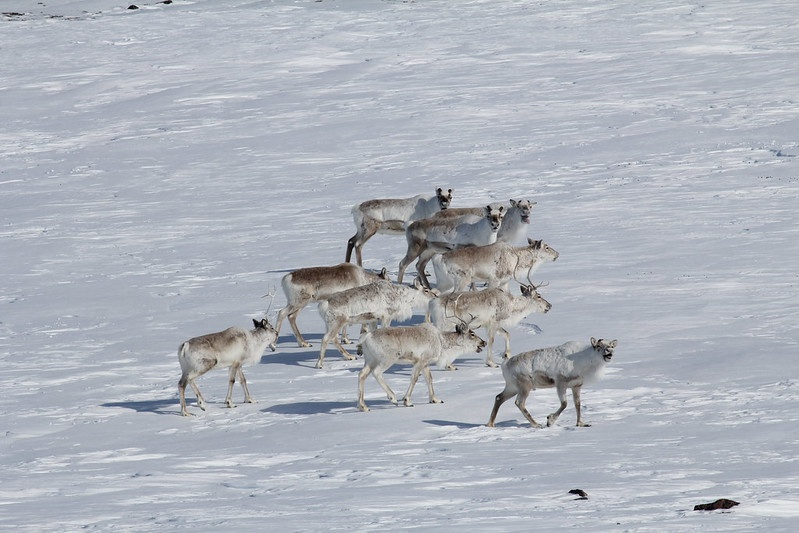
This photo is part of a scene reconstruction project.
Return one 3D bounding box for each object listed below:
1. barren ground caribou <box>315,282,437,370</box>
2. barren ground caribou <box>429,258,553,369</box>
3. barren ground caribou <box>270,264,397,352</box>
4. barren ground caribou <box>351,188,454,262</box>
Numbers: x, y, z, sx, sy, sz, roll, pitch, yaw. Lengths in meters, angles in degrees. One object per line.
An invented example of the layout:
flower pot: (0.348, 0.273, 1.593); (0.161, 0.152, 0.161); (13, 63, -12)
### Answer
barren ground caribou: (-0.738, 1.525, 42.469); (4.234, 1.150, 1.899); (-6, 93, -36)
barren ground caribou: (2.283, 1.598, 41.820); (3.980, 1.048, 1.918); (1, 88, -27)
barren ground caribou: (-1.959, 1.078, 44.186); (1.424, 4.767, 2.192); (16, 100, 43)
barren ground caribou: (-0.044, -1.166, 48.963); (4.193, 1.094, 1.913); (-8, 105, -40)
